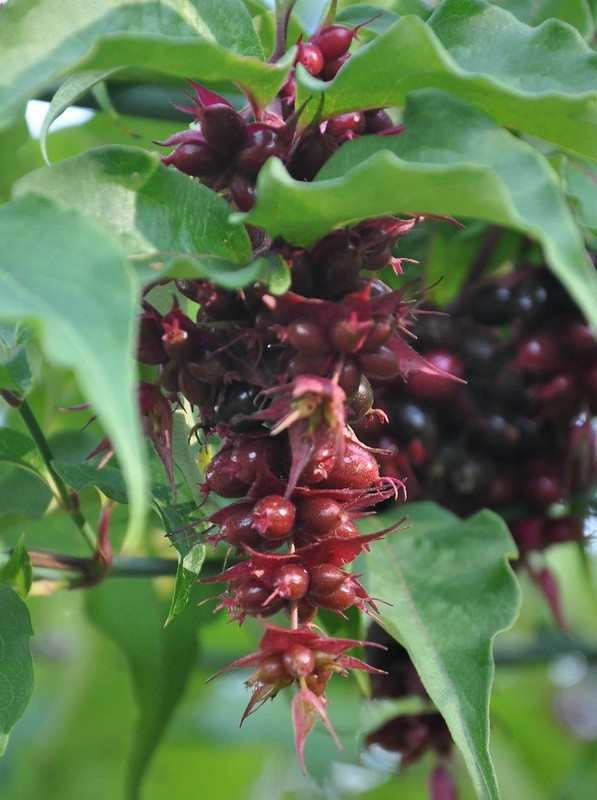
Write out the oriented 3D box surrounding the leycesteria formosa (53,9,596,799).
[{"bbox_3d":[0.022,-0.003,0.738,0.579,0.433,0.226,1,2,1],"label":"leycesteria formosa"}]
